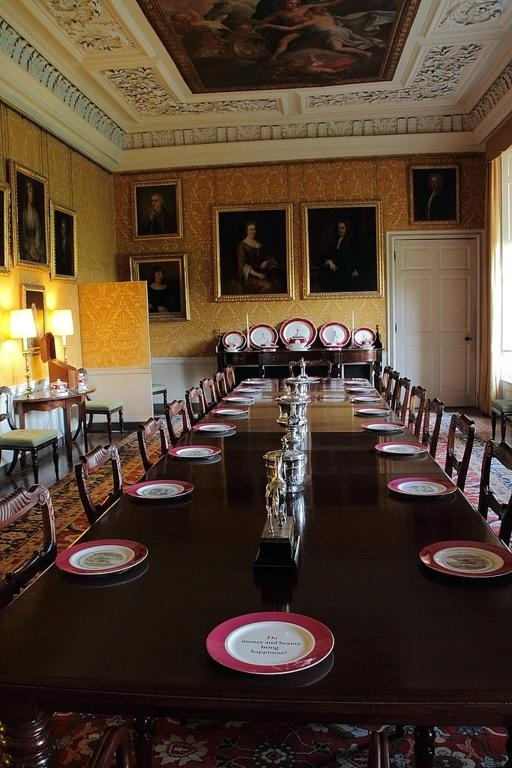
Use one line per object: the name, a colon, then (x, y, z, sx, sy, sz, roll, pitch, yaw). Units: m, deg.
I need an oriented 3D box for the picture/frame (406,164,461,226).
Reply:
picture/frame: (2.787, -2.990, 8.167, 0.906, 1.112, 0.076, -1, 4, 1)

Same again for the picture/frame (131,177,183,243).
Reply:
picture/frame: (-1.580, -2.893, 8.556, 1.010, 1.096, 0.083, 1, 13, 8)

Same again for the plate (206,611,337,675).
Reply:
plate: (0.022, 0.434, 0.890, 0.210, 0.022, 0.189, -3, 8, 4)

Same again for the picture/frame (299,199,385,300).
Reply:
picture/frame: (1.399, -2.210, 8.308, 1.529, 1.786, 0.138, -1, 3, 4)

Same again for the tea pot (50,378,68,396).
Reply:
tea pot: (-2.094, 0.035, 5.612, 0.188, 0.182, 0.184, 1, -2, 0)
